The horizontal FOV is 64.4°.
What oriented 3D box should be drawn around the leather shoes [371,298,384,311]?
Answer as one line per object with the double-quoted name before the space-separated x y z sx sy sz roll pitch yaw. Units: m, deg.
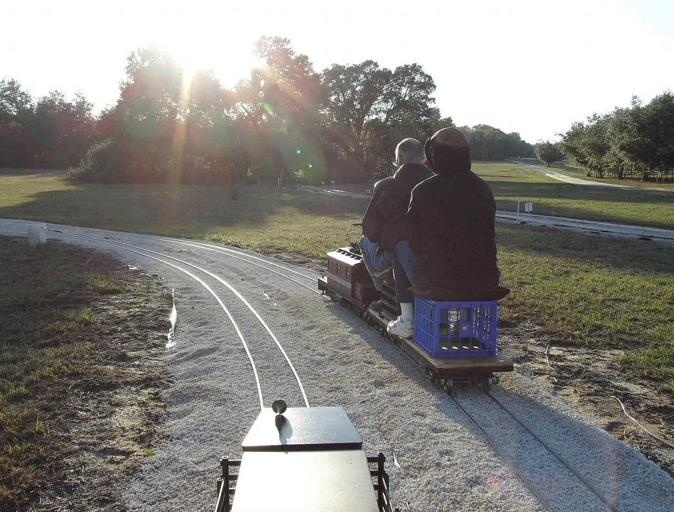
"leather shoes" 0.871 1.055 11.622 0.211 0.114 0.340 -1 5 -8
